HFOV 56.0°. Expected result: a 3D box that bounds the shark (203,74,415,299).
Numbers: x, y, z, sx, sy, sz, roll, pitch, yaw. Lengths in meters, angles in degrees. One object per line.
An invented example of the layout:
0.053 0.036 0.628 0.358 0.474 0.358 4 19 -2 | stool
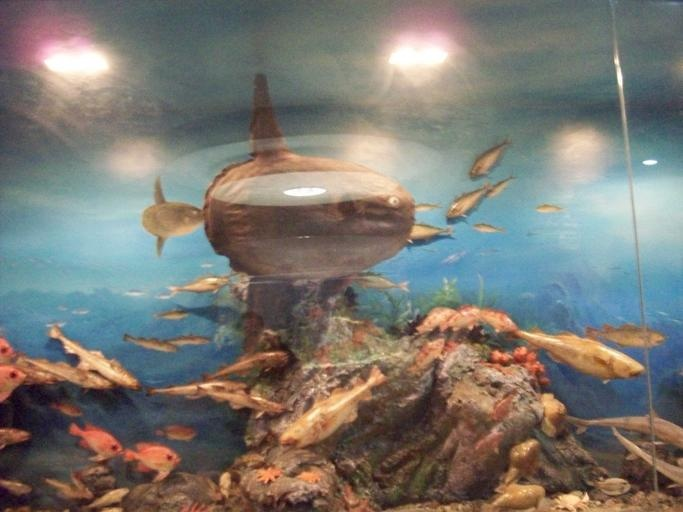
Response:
-0.287 -0.474 5.141 1.610 1.445 1.486 3 2 -31 | shark

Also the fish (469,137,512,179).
1.116 -0.721 4.806 0.309 0.296 0.025 1 -4 -2 | fish

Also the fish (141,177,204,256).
-1.246 -0.296 4.759 0.478 0.565 0.089 -1 -4 18 | fish

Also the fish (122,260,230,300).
-1.176 0.229 4.815 0.901 0.226 0.180 -14 -17 0 | fish
